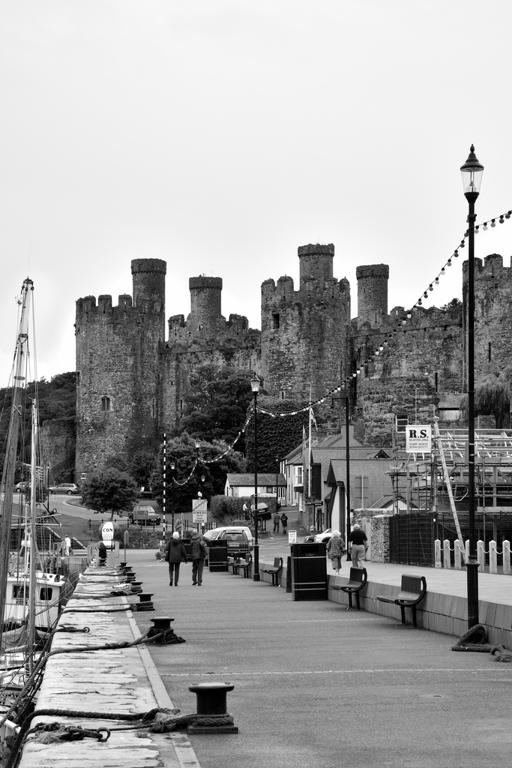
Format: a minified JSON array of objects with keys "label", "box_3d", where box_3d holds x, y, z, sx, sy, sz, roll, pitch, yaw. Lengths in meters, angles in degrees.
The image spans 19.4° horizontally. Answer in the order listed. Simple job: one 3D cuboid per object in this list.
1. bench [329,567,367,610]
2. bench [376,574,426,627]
[{"label":"bench","box_3d":[1.191,2.653,19.375,0.344,0.848,0.621,1,-4,-13]},{"label":"bench","box_3d":[1.588,2.412,16.485,0.305,0.591,0.737,4,-5,-12]}]
